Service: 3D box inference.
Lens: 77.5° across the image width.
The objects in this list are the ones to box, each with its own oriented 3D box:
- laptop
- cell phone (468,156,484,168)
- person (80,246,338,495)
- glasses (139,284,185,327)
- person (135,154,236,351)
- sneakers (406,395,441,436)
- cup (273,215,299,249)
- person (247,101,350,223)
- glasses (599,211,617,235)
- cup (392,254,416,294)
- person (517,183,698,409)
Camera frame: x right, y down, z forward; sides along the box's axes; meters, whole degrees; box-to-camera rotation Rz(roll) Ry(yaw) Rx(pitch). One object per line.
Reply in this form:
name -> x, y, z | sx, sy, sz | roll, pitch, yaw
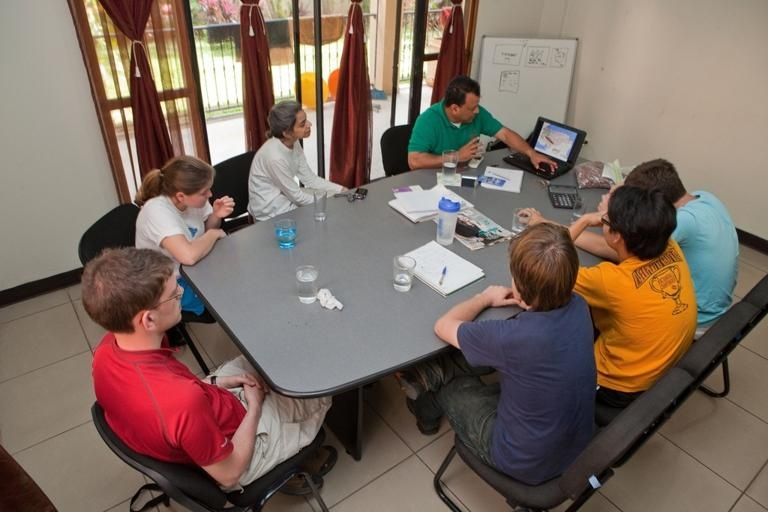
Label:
laptop -> 1.300, -0.893, 3.899 | 0.520, 0.320, 0.587 | -11, 34, -17
cell phone -> 0.740, -0.769, 3.895 | 0.049, 0.083, 0.084 | 21, 76, 29
person -> -0.845, 0.572, 2.404 | 0.588, 1.170, 0.739 | 38, 61, 23
glasses -> -1.003, 0.244, 2.184 | 0.162, 0.054, 0.159 | -34, 21, -2
person -> -1.294, -0.118, 3.176 | 0.613, 1.071, 0.572 | 21, 27, 23
sneakers -> 0.258, 0.954, 3.069 | 0.111, 0.254, 0.338 | -34, -8, 13
cup -> -0.632, -0.133, 3.102 | 0.162, 0.190, 0.164 | 1, 39, -1
person -> -0.670, -0.609, 3.872 | 0.818, 1.227, 0.470 | 7, 38, -3
glasses -> 1.264, -0.195, 2.694 | 0.124, 0.038, 0.127 | -19, 44, -26
cup -> 0.112, 0.111, 2.775 | 0.094, 0.150, 0.129 | -26, 44, -36
person -> 1.194, 0.245, 2.485 | 0.536, 1.251, 0.822 | -27, 49, -13
